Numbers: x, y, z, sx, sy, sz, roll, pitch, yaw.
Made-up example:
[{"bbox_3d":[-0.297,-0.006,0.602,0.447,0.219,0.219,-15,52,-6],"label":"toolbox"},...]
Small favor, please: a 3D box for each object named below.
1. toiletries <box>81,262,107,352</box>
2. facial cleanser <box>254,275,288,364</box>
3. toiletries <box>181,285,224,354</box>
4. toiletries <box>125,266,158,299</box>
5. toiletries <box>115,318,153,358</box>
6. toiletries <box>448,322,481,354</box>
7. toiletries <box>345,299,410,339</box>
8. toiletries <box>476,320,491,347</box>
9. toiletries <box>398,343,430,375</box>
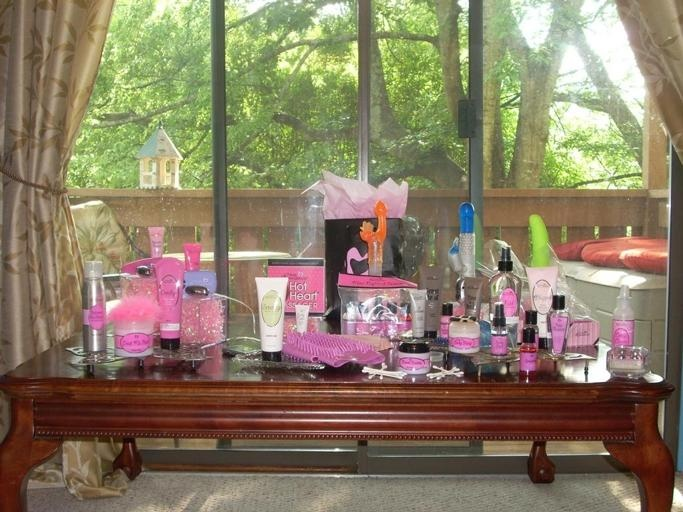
[{"bbox_3d":[-0.767,0.158,2.296,0.064,0.271,0.078,1,5,-8],"label":"toiletries"},{"bbox_3d":[-0.186,0.184,2.189,0.100,0.228,0.124,0,-2,7],"label":"facial cleanser"},{"bbox_3d":[-0.451,0.205,2.388,0.108,0.204,0.091,2,5,22],"label":"toiletries"},{"bbox_3d":[-0.662,0.077,2.412,0.110,0.153,0.111,0,5,-21],"label":"toiletries"},{"bbox_3d":[-0.630,0.257,2.296,0.114,0.127,0.112,4,-5,-44],"label":"toiletries"},{"bbox_3d":[0.378,0.250,2.249,0.093,0.092,0.095,0,-3,4],"label":"toiletries"},{"bbox_3d":[0.123,0.215,2.572,0.210,0.132,0.177,1,5,-3],"label":"toiletries"},{"bbox_3d":[0.458,0.249,2.335,0.045,0.072,0.027,1,-14,2],"label":"toiletries"},{"bbox_3d":[0.211,0.297,2.134,0.087,0.086,0.089,0,-2,-3],"label":"toiletries"}]
